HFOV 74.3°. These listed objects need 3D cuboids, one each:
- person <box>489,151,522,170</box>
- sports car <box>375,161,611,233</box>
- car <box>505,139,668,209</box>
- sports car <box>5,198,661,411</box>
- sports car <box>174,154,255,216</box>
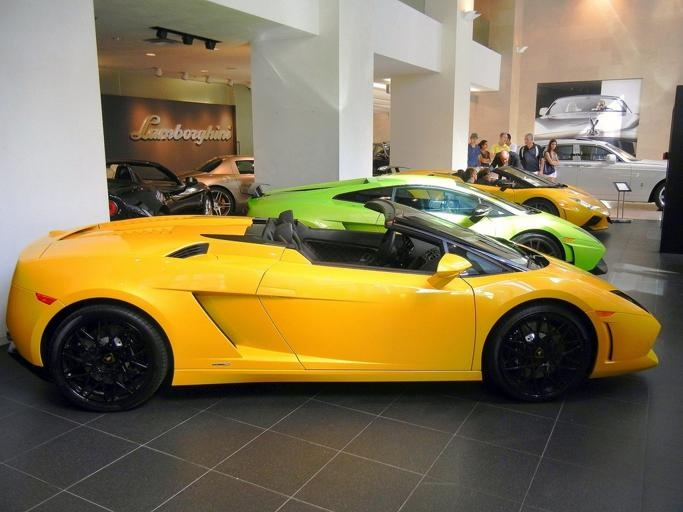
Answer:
[{"bbox_3d":[4.365,-2.570,12.028,0.977,0.338,1.195,1,2,22],"label":"person"},{"bbox_3d":[3.542,-1.225,9.202,3.300,0.938,1.988,1,10,7],"label":"sports car"},{"bbox_3d":[6.739,-2.395,12.886,4.207,1.476,1.877,4,13,18],"label":"car"},{"bbox_3d":[-0.134,0.388,3.571,3.887,1.081,2.068,0,9,-2],"label":"sports car"},{"bbox_3d":[-2.641,-1.629,10.750,2.360,0.816,1.437,1,11,-4],"label":"sports car"}]
